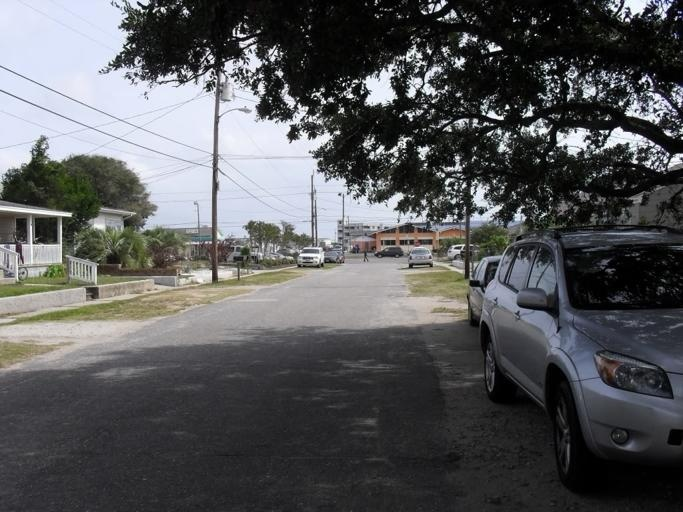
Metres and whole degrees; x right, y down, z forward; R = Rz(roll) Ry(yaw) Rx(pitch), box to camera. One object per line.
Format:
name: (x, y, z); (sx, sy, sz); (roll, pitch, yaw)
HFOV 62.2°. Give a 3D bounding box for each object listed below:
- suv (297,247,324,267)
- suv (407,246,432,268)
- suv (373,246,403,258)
suv: (-2.813, 0.163, 52.399); (2.004, 1.735, 2.762); (0, 1, 6)
suv: (6.962, 0.136, 50.339); (2.146, 1.635, 1.761); (0, 2, -13)
suv: (7.626, -0.652, 90.121); (4.393, 1.574, 3.548); (1, 1, 24)
